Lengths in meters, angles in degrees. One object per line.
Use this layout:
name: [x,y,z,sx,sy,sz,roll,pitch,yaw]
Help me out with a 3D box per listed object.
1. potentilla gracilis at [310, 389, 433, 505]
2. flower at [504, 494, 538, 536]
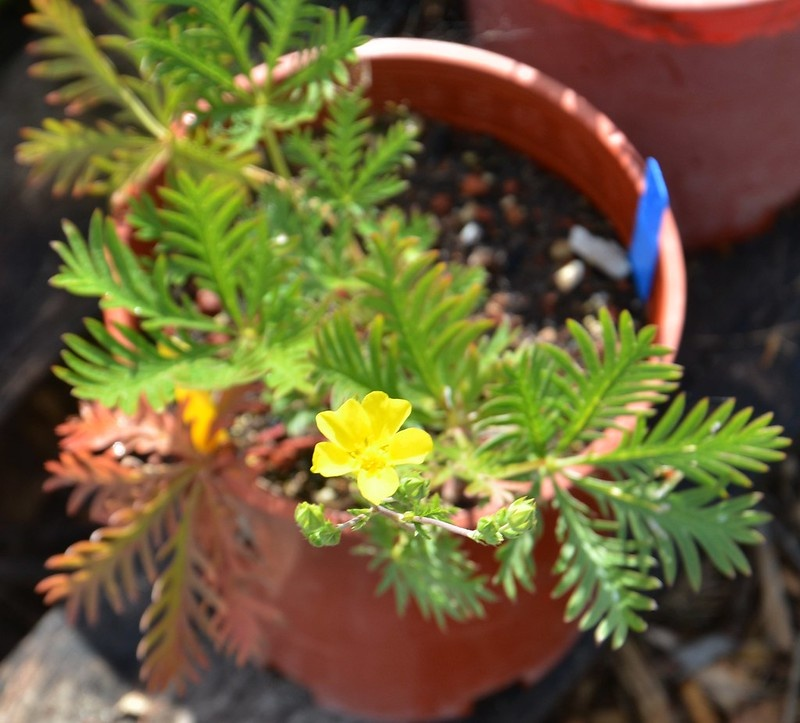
potentilla gracilis: [-0.029,0.069,0.641,0.094,0.040,0.097,38,74,14]
flower: [0.098,0.131,0.619,0.031,0.026,0.022,-30,71,-10]
